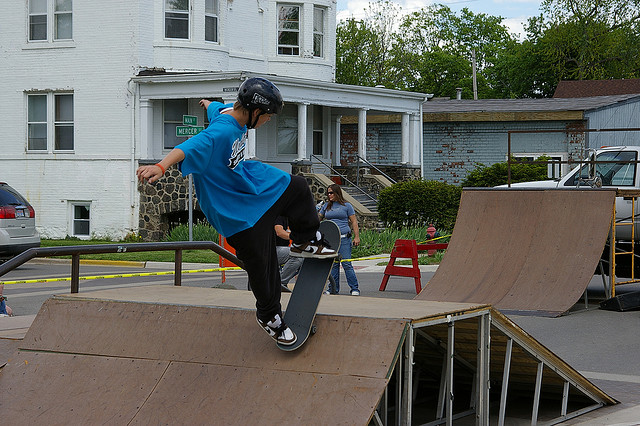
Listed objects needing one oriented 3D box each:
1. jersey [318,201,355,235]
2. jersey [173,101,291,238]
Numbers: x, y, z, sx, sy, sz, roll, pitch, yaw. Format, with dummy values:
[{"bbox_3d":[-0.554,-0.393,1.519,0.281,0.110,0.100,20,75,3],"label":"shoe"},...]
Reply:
[{"bbox_3d":[0.296,0.073,12.514,0.771,0.373,0.266,-10,52,2],"label":"jersey"},{"bbox_3d":[-0.853,-0.919,8.158,1.295,1.235,2.397,-5,16,-3],"label":"jersey"}]
